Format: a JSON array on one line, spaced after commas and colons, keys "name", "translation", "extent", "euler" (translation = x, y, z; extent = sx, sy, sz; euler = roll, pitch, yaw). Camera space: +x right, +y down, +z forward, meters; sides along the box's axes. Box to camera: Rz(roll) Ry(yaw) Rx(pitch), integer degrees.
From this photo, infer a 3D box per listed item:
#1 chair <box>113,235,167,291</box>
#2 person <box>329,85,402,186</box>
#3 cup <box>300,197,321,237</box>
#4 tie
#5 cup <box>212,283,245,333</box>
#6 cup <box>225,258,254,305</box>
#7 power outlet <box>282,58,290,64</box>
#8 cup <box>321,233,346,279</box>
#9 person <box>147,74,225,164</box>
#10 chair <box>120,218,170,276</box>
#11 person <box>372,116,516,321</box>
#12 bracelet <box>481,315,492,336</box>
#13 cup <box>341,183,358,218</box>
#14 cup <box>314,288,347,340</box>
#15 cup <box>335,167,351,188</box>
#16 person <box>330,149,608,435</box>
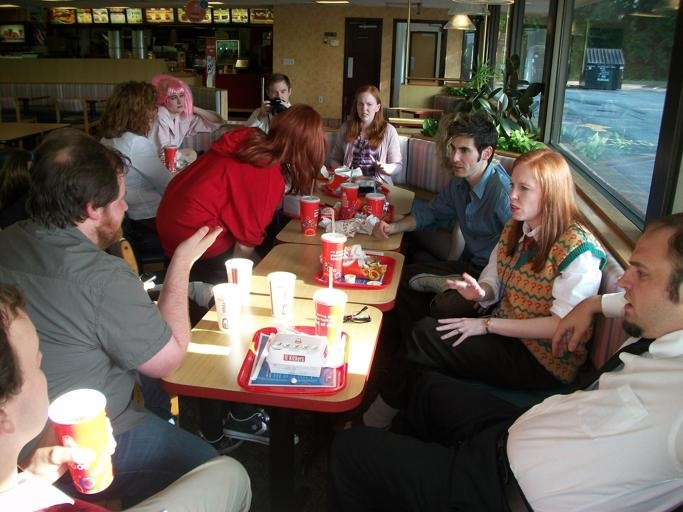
[{"name": "chair", "translation": [-0.984, 0.019, 2.356], "extent": [0.193, 0.342, 0.185], "euler": [-15, 28, -30]}, {"name": "person", "translation": [0.192, -0.999, 4.412], "extent": [0.620, 1.070, 0.698], "euler": [6, 9, 13]}, {"name": "cup", "translation": [-0.184, -0.233, 2.760], "extent": [0.122, 0.202, 0.129], "euler": [1, 17, 0]}, {"name": "tie", "translation": [0.821, 0.297, 1.406], "extent": [0.216, 0.056, 0.142], "euler": [-19, 15, -6]}, {"name": "cup", "translation": [-0.423, 0.197, 1.824], "extent": [0.111, 0.178, 0.130], "euler": [2, 18, 9]}, {"name": "cup", "translation": [-0.407, 0.101, 2.019], "extent": [0.151, 0.195, 0.155], "euler": [-1, 6, 0]}, {"name": "power outlet", "translation": [-1.340, -4.724, 11.629], "extent": [0.187, 0.113, 0.045], "euler": [-1, 5, 1]}, {"name": "cup", "translation": [-0.041, 0.005, 2.232], "extent": [0.132, 0.209, 0.135], "euler": [7, 16, -2]}, {"name": "person", "translation": [-1.513, -1.213, 4.738], "extent": [0.645, 0.993, 0.627], "euler": [-8, 30, -36]}, {"name": "chair", "translation": [-1.144, -0.059, 2.806], "extent": [0.249, 0.439, 0.239], "euler": [0, 19, -3]}, {"name": "person", "translation": [0.724, -0.027, 3.053], "extent": [0.869, 1.625, 0.717], "euler": [-7, 21, -17]}, {"name": "bracelet", "translation": [0.621, 0.293, 2.052], "extent": [0.042, 0.064, 0.031], "euler": [-1, -9, 11]}, {"name": "cup", "translation": [0.043, -0.336, 2.949], "extent": [0.153, 0.200, 0.163], "euler": [5, 13, -1]}, {"name": "cup", "translation": [-0.045, 0.214, 1.700], "extent": [0.107, 0.155, 0.111], "euler": [3, 11, -1]}, {"name": "cup", "translation": [0.008, -0.570, 3.481], "extent": [0.124, 0.170, 0.158], "euler": [0, 7, -9]}, {"name": "person", "translation": [0.594, 0.181, 2.180], "extent": [0.954, 1.330, 0.617], "euler": [6, 7, 3]}]
